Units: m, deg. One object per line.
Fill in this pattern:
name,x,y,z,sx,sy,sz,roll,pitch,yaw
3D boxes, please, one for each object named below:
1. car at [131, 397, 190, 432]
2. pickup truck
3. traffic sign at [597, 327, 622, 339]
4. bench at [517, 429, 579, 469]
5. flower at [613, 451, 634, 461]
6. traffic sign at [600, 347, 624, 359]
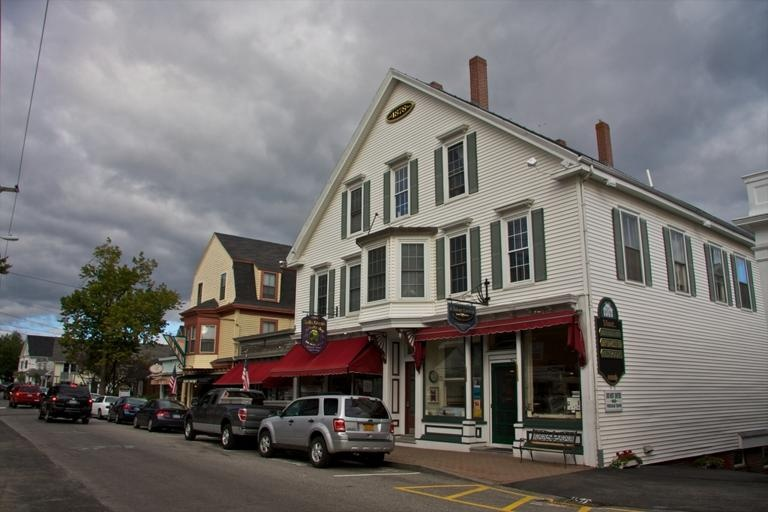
car,-11.610,8.339,31.428,1.609,1.700,3.184,18,-24,-37
pickup truck,-6.452,6.680,25.006,2.261,1.474,4.160,10,-14,-34
traffic sign,8.269,2.811,21.799,1.371,0.413,0.025,15,-23,-33
bench,5.823,6.758,21.185,0.718,1.012,2.029,3,-12,-36
flower,8.506,7.104,21.112,0.441,0.166,0.588,-4,-7,28
traffic sign,8.215,3.541,21.607,1.349,0.384,0.054,15,-22,-32
